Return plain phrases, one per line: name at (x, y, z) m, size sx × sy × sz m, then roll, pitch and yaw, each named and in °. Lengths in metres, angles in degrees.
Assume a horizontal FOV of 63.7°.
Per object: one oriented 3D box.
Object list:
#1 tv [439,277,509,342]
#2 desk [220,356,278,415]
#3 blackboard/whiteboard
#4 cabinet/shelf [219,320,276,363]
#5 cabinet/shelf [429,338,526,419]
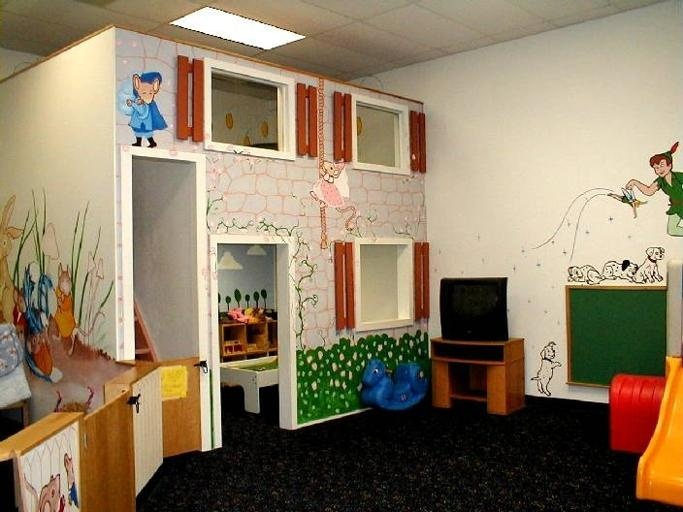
tv at (1.693, 0.737, 6.767) m, size 0.853 × 0.859 × 0.511 m, roll -7°, pitch -27°, yaw 37°
desk at (-1.123, 1.682, 6.889) m, size 0.497 × 0.328 × 0.786 m, roll -2°, pitch -1°, yaw 30°
blackboard/whiteboard at (3.078, 0.884, 6.058) m, size 1.142 × 1.192 × 0.116 m, roll -3°, pitch -4°, yaw 40°
cabinet/shelf at (-1.402, 1.324, 8.482) m, size 0.979 × 0.640 × 0.274 m, roll 0°, pitch -6°, yaw -34°
cabinet/shelf at (1.667, 1.453, 6.741) m, size 0.974 × 0.843 × 0.568 m, roll -5°, pitch -1°, yaw 43°
